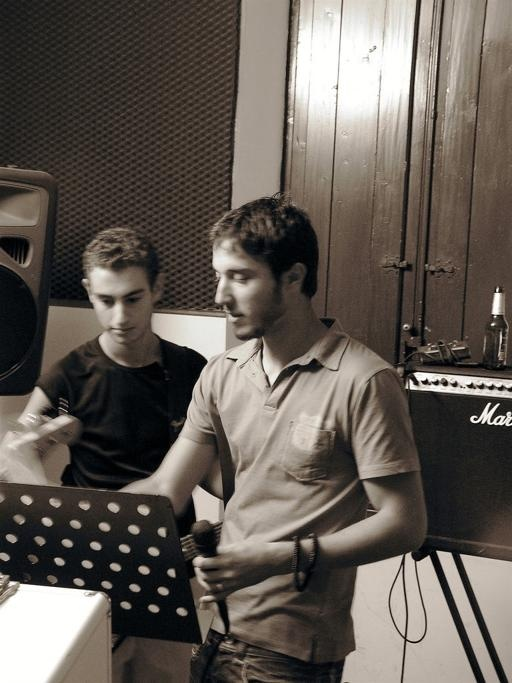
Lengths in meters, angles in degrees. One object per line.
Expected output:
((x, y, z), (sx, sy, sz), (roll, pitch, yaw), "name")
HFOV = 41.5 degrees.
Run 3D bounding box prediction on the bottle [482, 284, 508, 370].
((0.616, -0.044, 1.754), (0.053, 0.199, 0.225), (2, 8, 19), "bottle")
